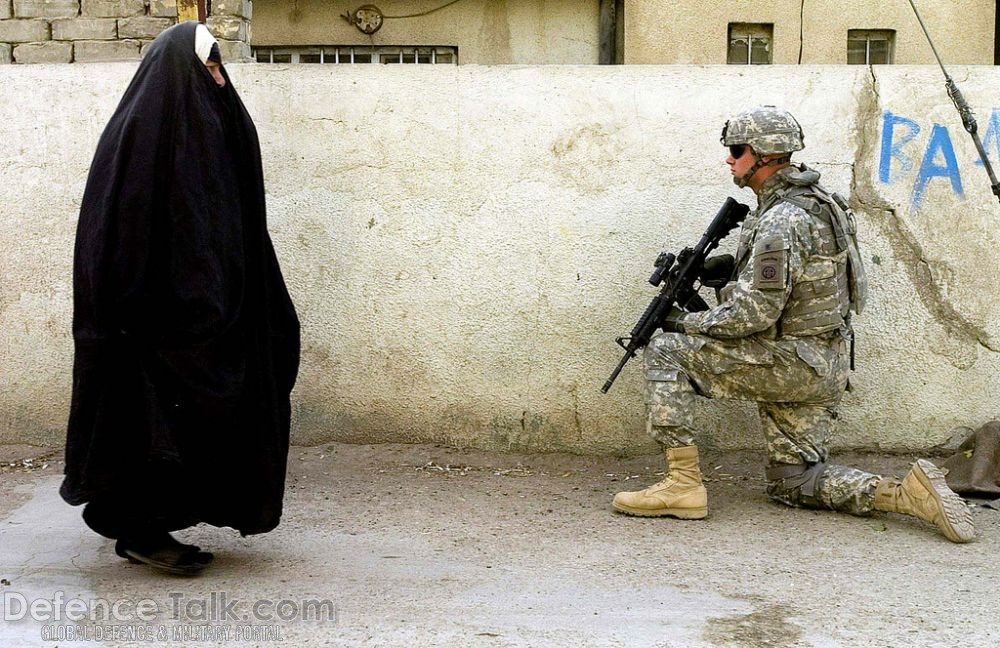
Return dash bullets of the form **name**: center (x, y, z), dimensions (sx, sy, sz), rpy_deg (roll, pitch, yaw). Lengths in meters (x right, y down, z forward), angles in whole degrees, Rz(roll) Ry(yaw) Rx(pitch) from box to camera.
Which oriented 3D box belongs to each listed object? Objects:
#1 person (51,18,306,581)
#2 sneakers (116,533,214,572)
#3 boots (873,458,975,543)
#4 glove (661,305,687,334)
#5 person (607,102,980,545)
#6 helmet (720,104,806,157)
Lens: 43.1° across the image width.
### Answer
- **person**: center (-1.513, -0.125, 5.918), dimensions (1.099, 2.516, 0.825), rpy_deg (-2, 17, -15)
- **sneakers**: center (-1.567, 1.067, 5.956), dimensions (0.497, 0.140, 0.162), rpy_deg (10, 3, -4)
- **boots**: center (2.127, 0.841, 6.291), dimensions (0.263, 0.269, 0.660), rpy_deg (-9, 9, -21)
- **glove**: center (0.906, -0.023, 6.643), dimensions (0.154, 0.094, 0.084), rpy_deg (26, 26, 37)
- **person**: center (1.479, -0.030, 6.418), dimensions (1.565, 2.089, 0.717), rpy_deg (5, 17, 13)
- **helmet**: center (1.370, -1.011, 6.540), dimensions (0.443, 0.198, 0.290), rpy_deg (4, 18, 22)
